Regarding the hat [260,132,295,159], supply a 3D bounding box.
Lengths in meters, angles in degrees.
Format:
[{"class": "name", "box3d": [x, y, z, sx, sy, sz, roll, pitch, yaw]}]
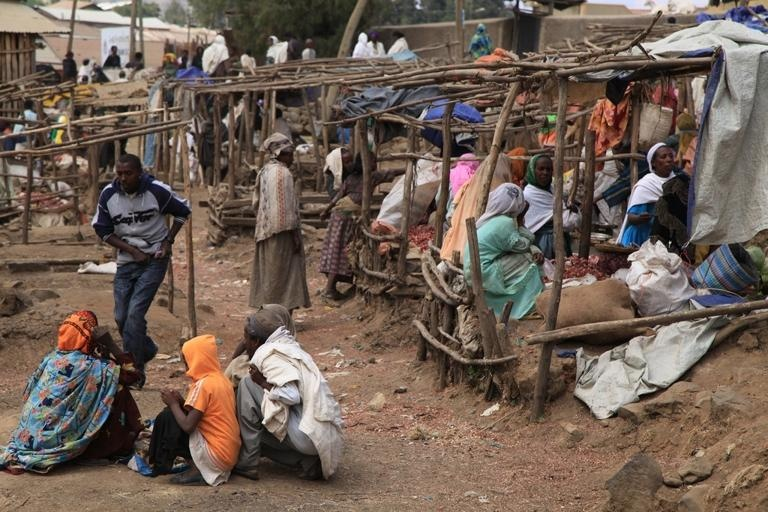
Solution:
[{"class": "hat", "box3d": [-1.422, -1.403, 11.759, 0.491, 0.421, 0.488, -3, 8, 7]}]

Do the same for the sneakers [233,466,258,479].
[{"class": "sneakers", "box3d": [-1.196, 1.881, 8.069, 0.271, 0.097, 0.093, 6, -2, 12]}]

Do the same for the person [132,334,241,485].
[{"class": "person", "box3d": [-1.668, 1.311, 7.908, 0.878, 1.223, 0.499, 1, 15, -10]}]

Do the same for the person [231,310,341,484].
[{"class": "person", "box3d": [-0.895, 1.222, 8.316, 0.970, 1.360, 0.971, 3, -3, 18]}]

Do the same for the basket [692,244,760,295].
[{"class": "basket", "box3d": [3.280, 0.179, 8.956, 0.519, 0.492, 0.486, -28, -38, 35]}]

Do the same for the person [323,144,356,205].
[{"class": "person", "box3d": [-0.633, -1.111, 13.235, 0.289, 0.807, 0.618, 14, 4, -23]}]

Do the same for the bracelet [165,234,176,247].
[{"class": "bracelet", "box3d": [-2.279, -0.163, 9.769, 0.104, 0.078, 0.106, 1, -2, 7]}]
